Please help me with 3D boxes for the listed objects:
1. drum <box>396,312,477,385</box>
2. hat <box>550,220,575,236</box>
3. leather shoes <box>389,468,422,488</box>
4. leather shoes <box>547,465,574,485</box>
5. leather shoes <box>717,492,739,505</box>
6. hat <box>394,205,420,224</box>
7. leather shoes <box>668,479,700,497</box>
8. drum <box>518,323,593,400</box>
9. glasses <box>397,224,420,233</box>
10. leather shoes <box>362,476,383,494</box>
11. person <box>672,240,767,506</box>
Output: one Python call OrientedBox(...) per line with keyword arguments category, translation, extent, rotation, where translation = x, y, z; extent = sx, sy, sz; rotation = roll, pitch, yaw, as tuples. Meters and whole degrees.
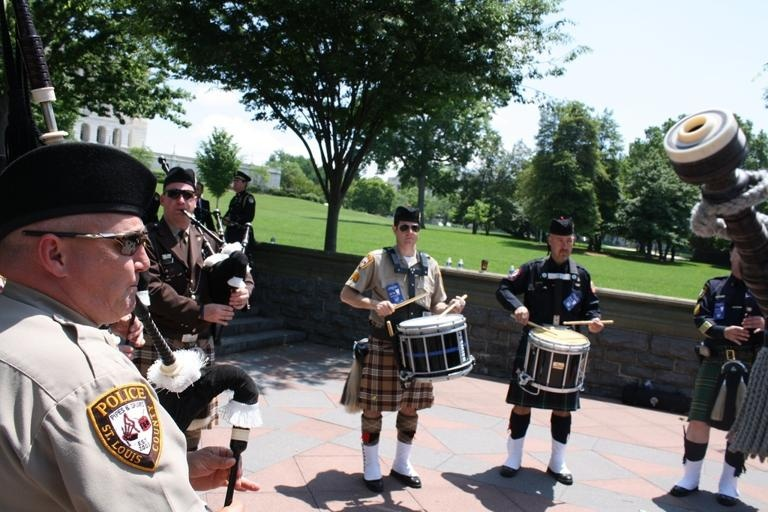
OrientedBox(category="drum", translation=(0.446, 0.812, 5.971), extent=(0.675, 0.449, 0.657), rotation=(-10, -1, 0))
OrientedBox(category="hat", translation=(1.782, -0.286, 6.816), extent=(0.227, 0.173, 0.250), rotation=(7, 7, 11))
OrientedBox(category="leather shoes", translation=(0.204, 2.028, 6.228), extent=(0.110, 0.079, 0.275), rotation=(-2, 2, -44))
OrientedBox(category="leather shoes", translation=(1.682, 2.105, 6.529), extent=(0.100, 0.092, 0.243), rotation=(1, -4, -31))
OrientedBox(category="leather shoes", translation=(3.194, 2.257, 6.321), extent=(0.107, 0.050, 0.142), rotation=(2, -6, 23))
OrientedBox(category="hat", translation=(0.202, -0.371, 6.297), extent=(0.154, 0.106, 0.203), rotation=(2, 5, -14))
OrientedBox(category="leather shoes", translation=(2.858, 2.226, 6.500), extent=(0.310, 0.111, 0.114), rotation=(4, -13, -20))
OrientedBox(category="drum", translation=(1.586, 1.002, 6.463), extent=(0.607, 0.454, 0.576), rotation=(1, 11, 0))
OrientedBox(category="glasses", translation=(0.238, -0.255, 6.294), extent=(0.212, 0.082, 0.095), rotation=(2, 8, -23))
OrientedBox(category="leather shoes", translation=(-0.109, 2.023, 6.053), extent=(0.206, 0.093, 0.175), rotation=(6, 7, 7))
OrientedBox(category="person", translation=(3.254, 1.093, 6.553), extent=(0.633, 2.354, 1.083), rotation=(9, 8, 24))
